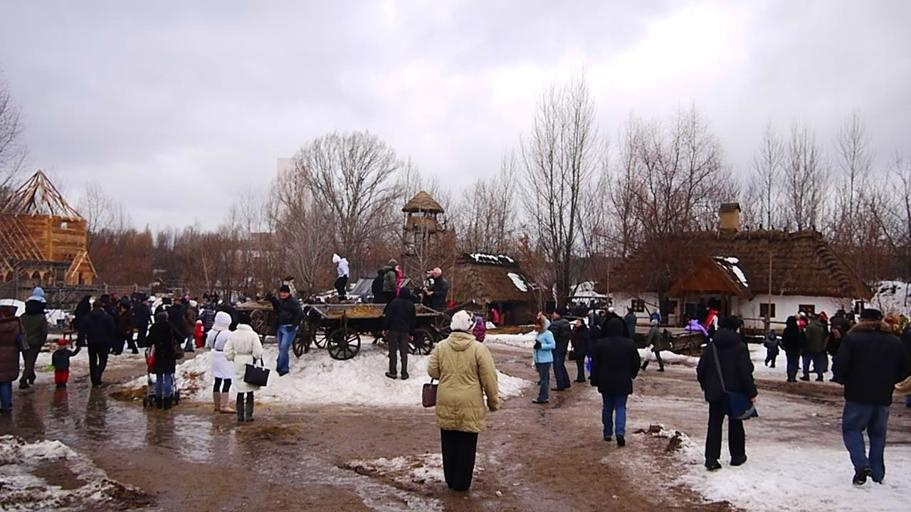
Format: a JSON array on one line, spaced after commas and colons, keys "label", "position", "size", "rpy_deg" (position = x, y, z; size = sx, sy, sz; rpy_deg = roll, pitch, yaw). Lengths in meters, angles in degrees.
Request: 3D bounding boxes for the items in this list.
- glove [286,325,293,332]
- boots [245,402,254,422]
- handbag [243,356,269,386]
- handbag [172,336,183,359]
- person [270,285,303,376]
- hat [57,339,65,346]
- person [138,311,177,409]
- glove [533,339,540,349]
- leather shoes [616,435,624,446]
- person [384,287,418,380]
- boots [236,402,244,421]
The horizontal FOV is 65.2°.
[{"label": "glove", "position": [-5.610, 2.406, 24.062], "size": [0.267, 0.248, 0.121], "rpy_deg": [0, 9, -5]}, {"label": "boots", "position": [-6.231, 4.633, 21.509], "size": [0.234, 0.582, 0.346], "rpy_deg": [-2, 10, -16]}, {"label": "handbag", "position": [-6.026, 3.511, 21.419], "size": [0.674, 0.981, 0.567], "rpy_deg": [-2, 10, -17]}, {"label": "handbag", "position": [-8.811, 2.849, 22.589], "size": [0.223, 0.689, 0.702], "rpy_deg": [-2, 9, -19]}, {"label": "person", "position": [-5.772, 2.437, 24.554], "size": [0.842, 3.229, 1.471], "rpy_deg": [-1, 10, -14]}, {"label": "hat", "position": [-13.804, 3.023, 24.991], "size": [0.242, 0.237, 0.310], "rpy_deg": [17, -14, -41]}, {"label": "person", "position": [-9.377, 3.283, 22.628], "size": [0.986, 3.028, 1.136], "rpy_deg": [-6, 12, -36]}, {"label": "glove", "position": [2.655, 2.892, 23.342], "size": [0.091, 0.273, 0.204], "rpy_deg": [6, -10, -19]}, {"label": "leather shoes", "position": [4.639, 5.190, 20.070], "size": [0.125, 0.343, 0.141], "rpy_deg": [-5, 41, 12]}, {"label": "person", "position": [-1.935, 2.799, 24.373], "size": [0.976, 2.802, 0.646], "rpy_deg": [0, 9, -4]}, {"label": "boots", "position": [-6.452, 4.548, 21.393], "size": [0.214, 0.772, 0.200], "rpy_deg": [-2, 10, -17]}]
